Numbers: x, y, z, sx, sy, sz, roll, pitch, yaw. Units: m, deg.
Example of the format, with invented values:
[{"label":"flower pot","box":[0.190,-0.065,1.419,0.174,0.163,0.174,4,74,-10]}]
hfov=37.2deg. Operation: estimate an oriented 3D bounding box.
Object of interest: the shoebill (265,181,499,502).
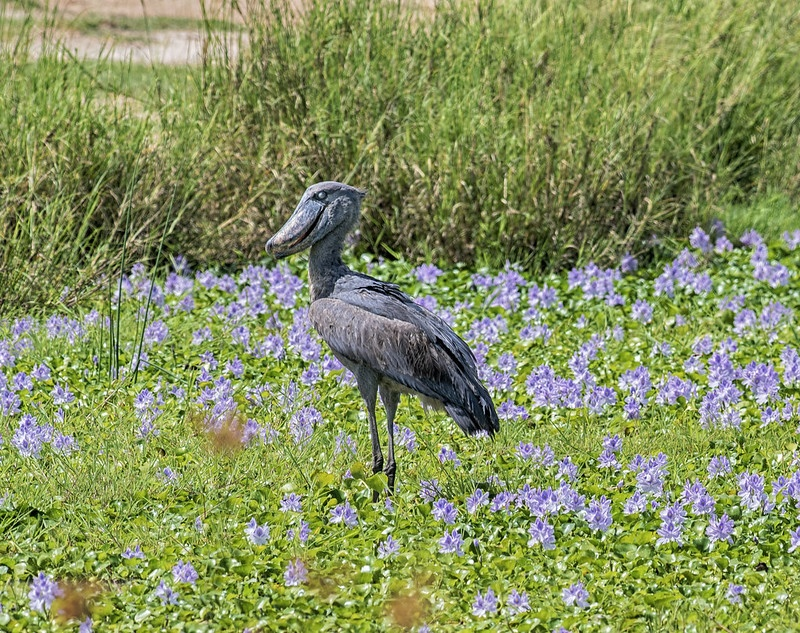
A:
[{"label":"shoebill","box":[-0.079,0.129,6.573,0.762,1.175,1.468,-23,50,-31]}]
